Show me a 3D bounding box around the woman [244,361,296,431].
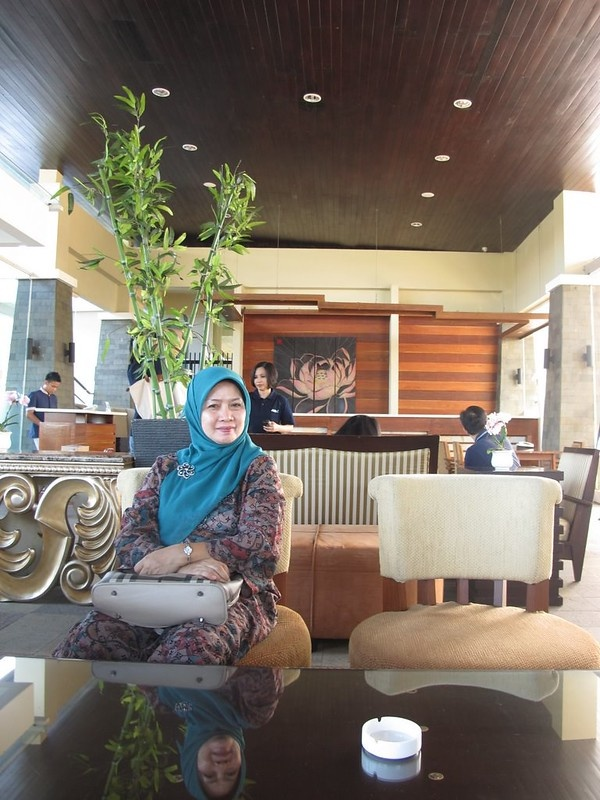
[{"bbox_3d":[-0.265,0.039,4.260,0.428,0.636,0.333,4,16,16],"label":"woman"}]

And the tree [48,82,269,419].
[{"bbox_3d":[-0.574,-0.526,2.383,0.606,1.468,0.620,-5,4,31],"label":"tree"}]

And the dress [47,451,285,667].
[{"bbox_3d":[-0.345,0.414,1.573,0.516,0.566,0.766,-3,-12,6],"label":"dress"}]

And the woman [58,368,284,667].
[{"bbox_3d":[-0.325,0.322,1.603,0.502,0.815,0.707,-1,-2,23],"label":"woman"}]
